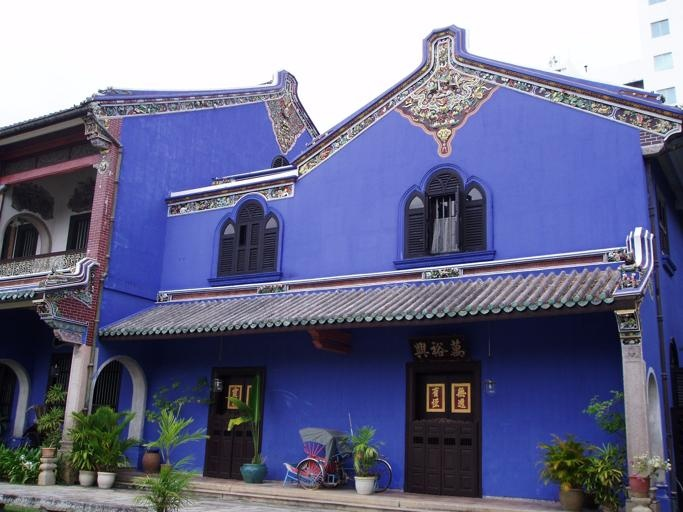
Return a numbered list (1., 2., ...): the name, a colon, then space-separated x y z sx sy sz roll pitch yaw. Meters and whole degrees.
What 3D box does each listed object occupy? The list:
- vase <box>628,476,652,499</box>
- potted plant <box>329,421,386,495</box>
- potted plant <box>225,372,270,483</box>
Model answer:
1. vase: 4.366 3.361 9.399 0.311 0.235 0.306 1 -20 3
2. potted plant: 0.418 3.864 12.211 0.785 1.285 0.848 5 -6 -4
3. potted plant: -1.876 3.568 13.450 0.851 2.337 0.677 7 -11 -40
